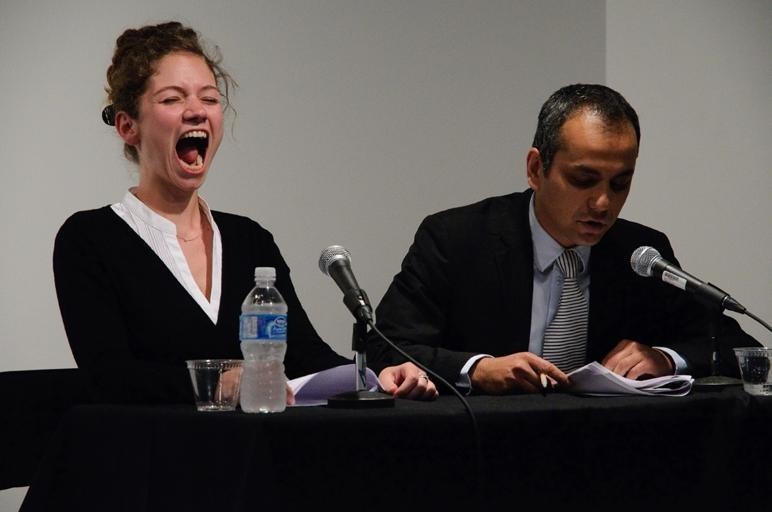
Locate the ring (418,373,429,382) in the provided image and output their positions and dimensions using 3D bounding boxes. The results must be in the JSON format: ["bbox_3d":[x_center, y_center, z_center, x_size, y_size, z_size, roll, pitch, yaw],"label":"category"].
[{"bbox_3d":[0.107,0.341,1.973,0.016,0.017,0.016,0,-30,0],"label":"ring"}]

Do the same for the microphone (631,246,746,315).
[{"bbox_3d":[1.251,0.105,2.892,0.508,0.124,0.122,31,-18,20],"label":"microphone"}]

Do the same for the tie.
[{"bbox_3d":[0.664,0.200,2.580,0.199,0.451,0.079,-3,3,-7],"label":"tie"}]

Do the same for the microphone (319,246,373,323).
[{"bbox_3d":[-0.105,0.071,1.942,0.094,0.094,0.267,1,37,-31],"label":"microphone"}]

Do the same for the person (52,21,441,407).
[{"bbox_3d":[-0.728,-0.057,2.933,1.300,1.532,1.156,-10,-12,33],"label":"person"}]

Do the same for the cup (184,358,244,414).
[{"bbox_3d":[-0.415,0.321,1.724,0.121,0.095,0.124,-1,-10,0],"label":"cup"}]
